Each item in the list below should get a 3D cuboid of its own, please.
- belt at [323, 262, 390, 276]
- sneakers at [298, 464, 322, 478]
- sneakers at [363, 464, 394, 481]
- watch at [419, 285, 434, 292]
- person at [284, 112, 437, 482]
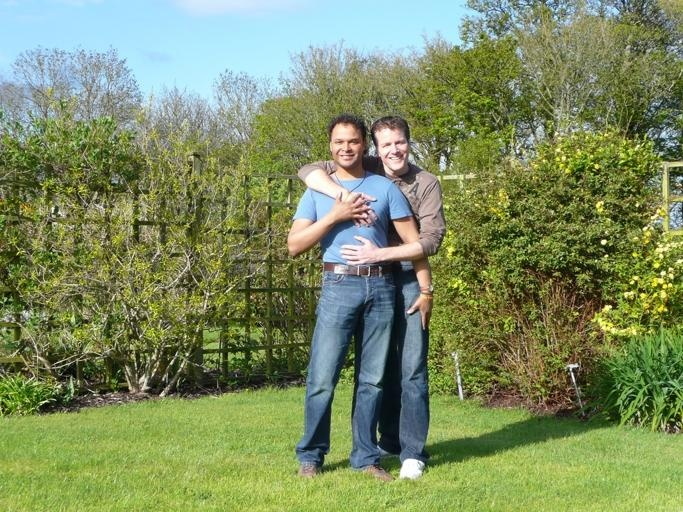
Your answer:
[{"bbox_3d":[0.124,0.104,5.292,0.523,0.100,0.168,1,-1,0],"label":"belt"},{"bbox_3d":[-0.252,1.659,5.269,0.163,0.063,0.121,1,-1,-15],"label":"sneakers"},{"bbox_3d":[0.288,1.678,5.288,0.249,0.065,0.144,0,-1,37],"label":"sneakers"},{"bbox_3d":[0.675,0.262,5.417,0.064,0.043,0.066,-2,-6,44],"label":"watch"},{"bbox_3d":[0.206,0.292,5.422,1.184,2.874,0.467,1,0,-8],"label":"person"}]
